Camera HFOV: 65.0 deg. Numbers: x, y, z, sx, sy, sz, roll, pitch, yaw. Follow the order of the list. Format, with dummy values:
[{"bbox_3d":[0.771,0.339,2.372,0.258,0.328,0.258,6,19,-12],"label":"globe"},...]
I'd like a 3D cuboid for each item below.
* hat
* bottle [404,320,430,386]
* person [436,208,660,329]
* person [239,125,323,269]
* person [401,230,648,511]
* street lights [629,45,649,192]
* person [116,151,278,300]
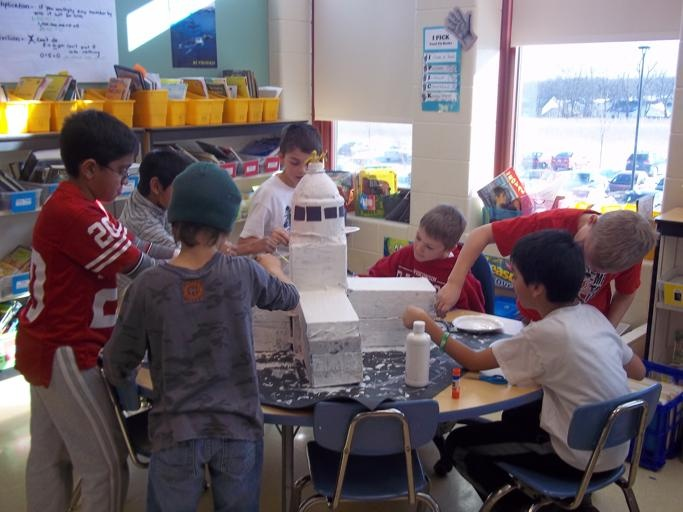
[{"bbox_3d":[-0.397,-0.174,1.519,0.160,0.135,0.226,13,11,-6],"label":"hat"},{"bbox_3d":[0.272,0.342,1.913,0.086,0.241,0.144,1,9,8],"label":"bottle"},{"bbox_3d":[0.892,0.063,2.272,0.558,0.395,0.944,16,-14,-1],"label":"person"},{"bbox_3d":[-0.226,-0.272,2.732,0.488,0.782,0.464,-6,21,-24],"label":"person"},{"bbox_3d":[0.835,0.277,2.609,1.078,1.564,0.780,8,13,32],"label":"person"},{"bbox_3d":[1.950,-0.899,3.521,0.061,0.920,0.078,5,10,29],"label":"street lights"},{"bbox_3d":[-0.718,-0.376,2.582,0.649,1.043,0.448,-10,44,-21],"label":"person"}]
